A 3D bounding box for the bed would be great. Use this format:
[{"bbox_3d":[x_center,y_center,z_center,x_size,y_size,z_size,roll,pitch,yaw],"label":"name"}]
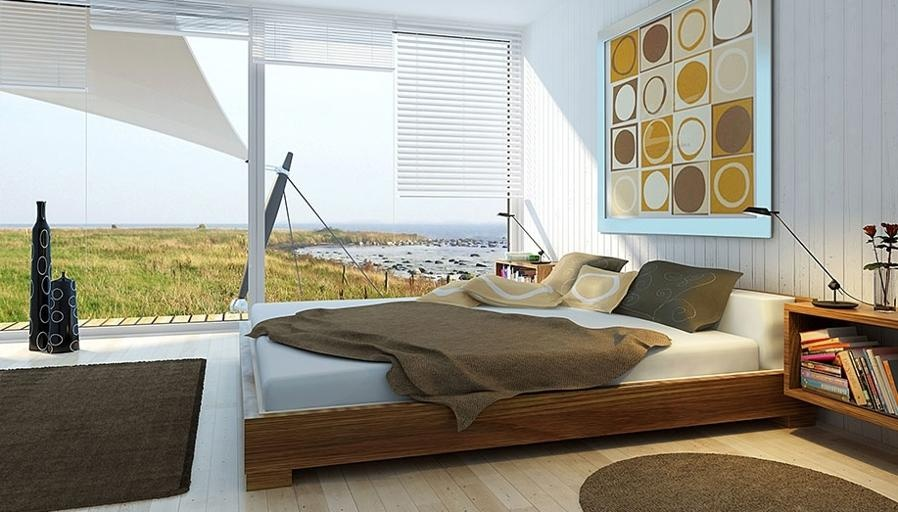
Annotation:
[{"bbox_3d":[0.400,1.051,3.911,2.673,0.641,1.918,1,-3,-14],"label":"bed"}]
